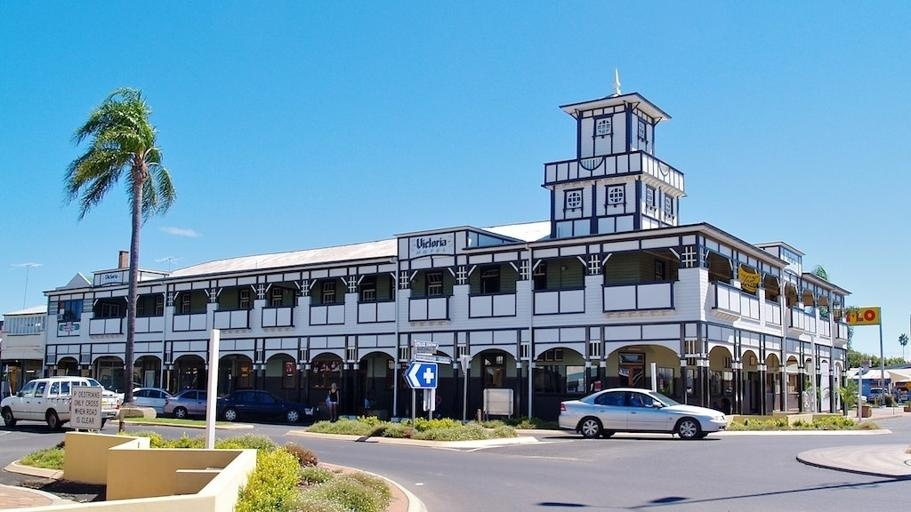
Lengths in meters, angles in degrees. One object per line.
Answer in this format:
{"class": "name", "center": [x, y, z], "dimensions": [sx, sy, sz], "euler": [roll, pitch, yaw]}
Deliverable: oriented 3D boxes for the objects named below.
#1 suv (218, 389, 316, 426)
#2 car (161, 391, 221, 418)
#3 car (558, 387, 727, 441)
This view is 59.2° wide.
{"class": "suv", "center": [-11.507, 9.250, 49.012], "dimensions": [5.914, 1.671, 2.259], "euler": [-1, -5, 1]}
{"class": "car", "center": [-16.299, 8.938, 48.761], "dimensions": [2.693, 1.798, 1.034], "euler": [-2, -16, 6]}
{"class": "car", "center": [8.884, 7.456, 38.554], "dimensions": [7.123, 2.010, 2.927], "euler": [-3, -7, 14]}
